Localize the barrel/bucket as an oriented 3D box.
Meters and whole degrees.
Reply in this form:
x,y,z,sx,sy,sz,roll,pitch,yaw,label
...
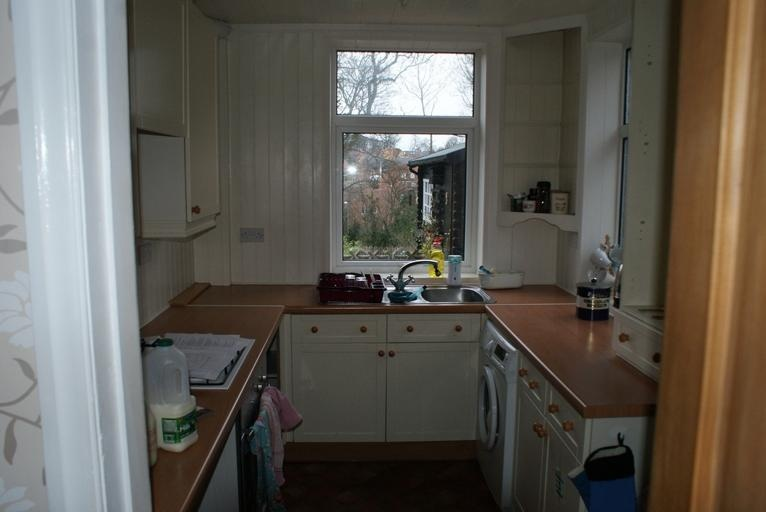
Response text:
x,y,z,sx,sy,sz,roll,pitch,yaw,label
-0.650,0.421,1.743,0.127,0.375,0.192,7,10,10,barrel/bucket

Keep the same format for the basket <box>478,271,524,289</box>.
x,y,z,sx,sy,sz,roll,pitch,yaw,label
0.791,0.163,3.747,0.312,0.121,0.074,-3,9,-17,basket

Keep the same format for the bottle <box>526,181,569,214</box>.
x,y,z,sx,sy,sz,roll,pitch,yaw,label
1.024,-0.364,3.531,0.067,0.202,0.304,-8,12,-41,bottle

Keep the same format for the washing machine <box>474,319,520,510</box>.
x,y,z,sx,sy,sz,roll,pitch,yaw,label
0.592,0.836,2.923,0.267,0.727,0.308,2,9,2,washing machine

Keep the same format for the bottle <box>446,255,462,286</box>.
x,y,z,sx,sy,sz,roll,pitch,yaw,label
0.478,0.093,3.763,0.084,0.198,0.149,2,9,13,bottle
